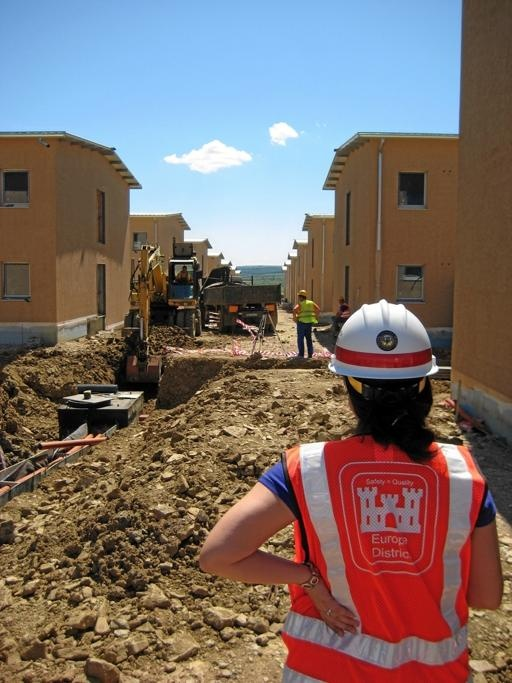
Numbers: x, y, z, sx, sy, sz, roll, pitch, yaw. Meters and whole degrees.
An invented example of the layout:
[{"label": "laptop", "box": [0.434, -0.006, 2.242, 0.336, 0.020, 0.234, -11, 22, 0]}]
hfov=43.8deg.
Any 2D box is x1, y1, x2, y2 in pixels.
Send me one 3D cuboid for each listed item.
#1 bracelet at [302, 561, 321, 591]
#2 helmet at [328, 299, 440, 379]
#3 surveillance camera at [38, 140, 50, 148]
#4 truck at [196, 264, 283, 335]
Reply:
[{"label": "bracelet", "box": [0.156, 0.632, 1.716, 0.048, 0.063, 0.024, 1, -9, -19]}, {"label": "helmet", "box": [0.356, -0.018, 1.709, 0.205, 0.140, 0.265, -1, 1, 3]}, {"label": "surveillance camera", "box": [-5.120, -4.714, 15.155, 0.206, 0.133, 0.381, 3, 14, -12]}, {"label": "truck", "box": [-0.632, -1.323, 22.571, 1.648, 1.775, 3.190, -1, 10, -9]}]
